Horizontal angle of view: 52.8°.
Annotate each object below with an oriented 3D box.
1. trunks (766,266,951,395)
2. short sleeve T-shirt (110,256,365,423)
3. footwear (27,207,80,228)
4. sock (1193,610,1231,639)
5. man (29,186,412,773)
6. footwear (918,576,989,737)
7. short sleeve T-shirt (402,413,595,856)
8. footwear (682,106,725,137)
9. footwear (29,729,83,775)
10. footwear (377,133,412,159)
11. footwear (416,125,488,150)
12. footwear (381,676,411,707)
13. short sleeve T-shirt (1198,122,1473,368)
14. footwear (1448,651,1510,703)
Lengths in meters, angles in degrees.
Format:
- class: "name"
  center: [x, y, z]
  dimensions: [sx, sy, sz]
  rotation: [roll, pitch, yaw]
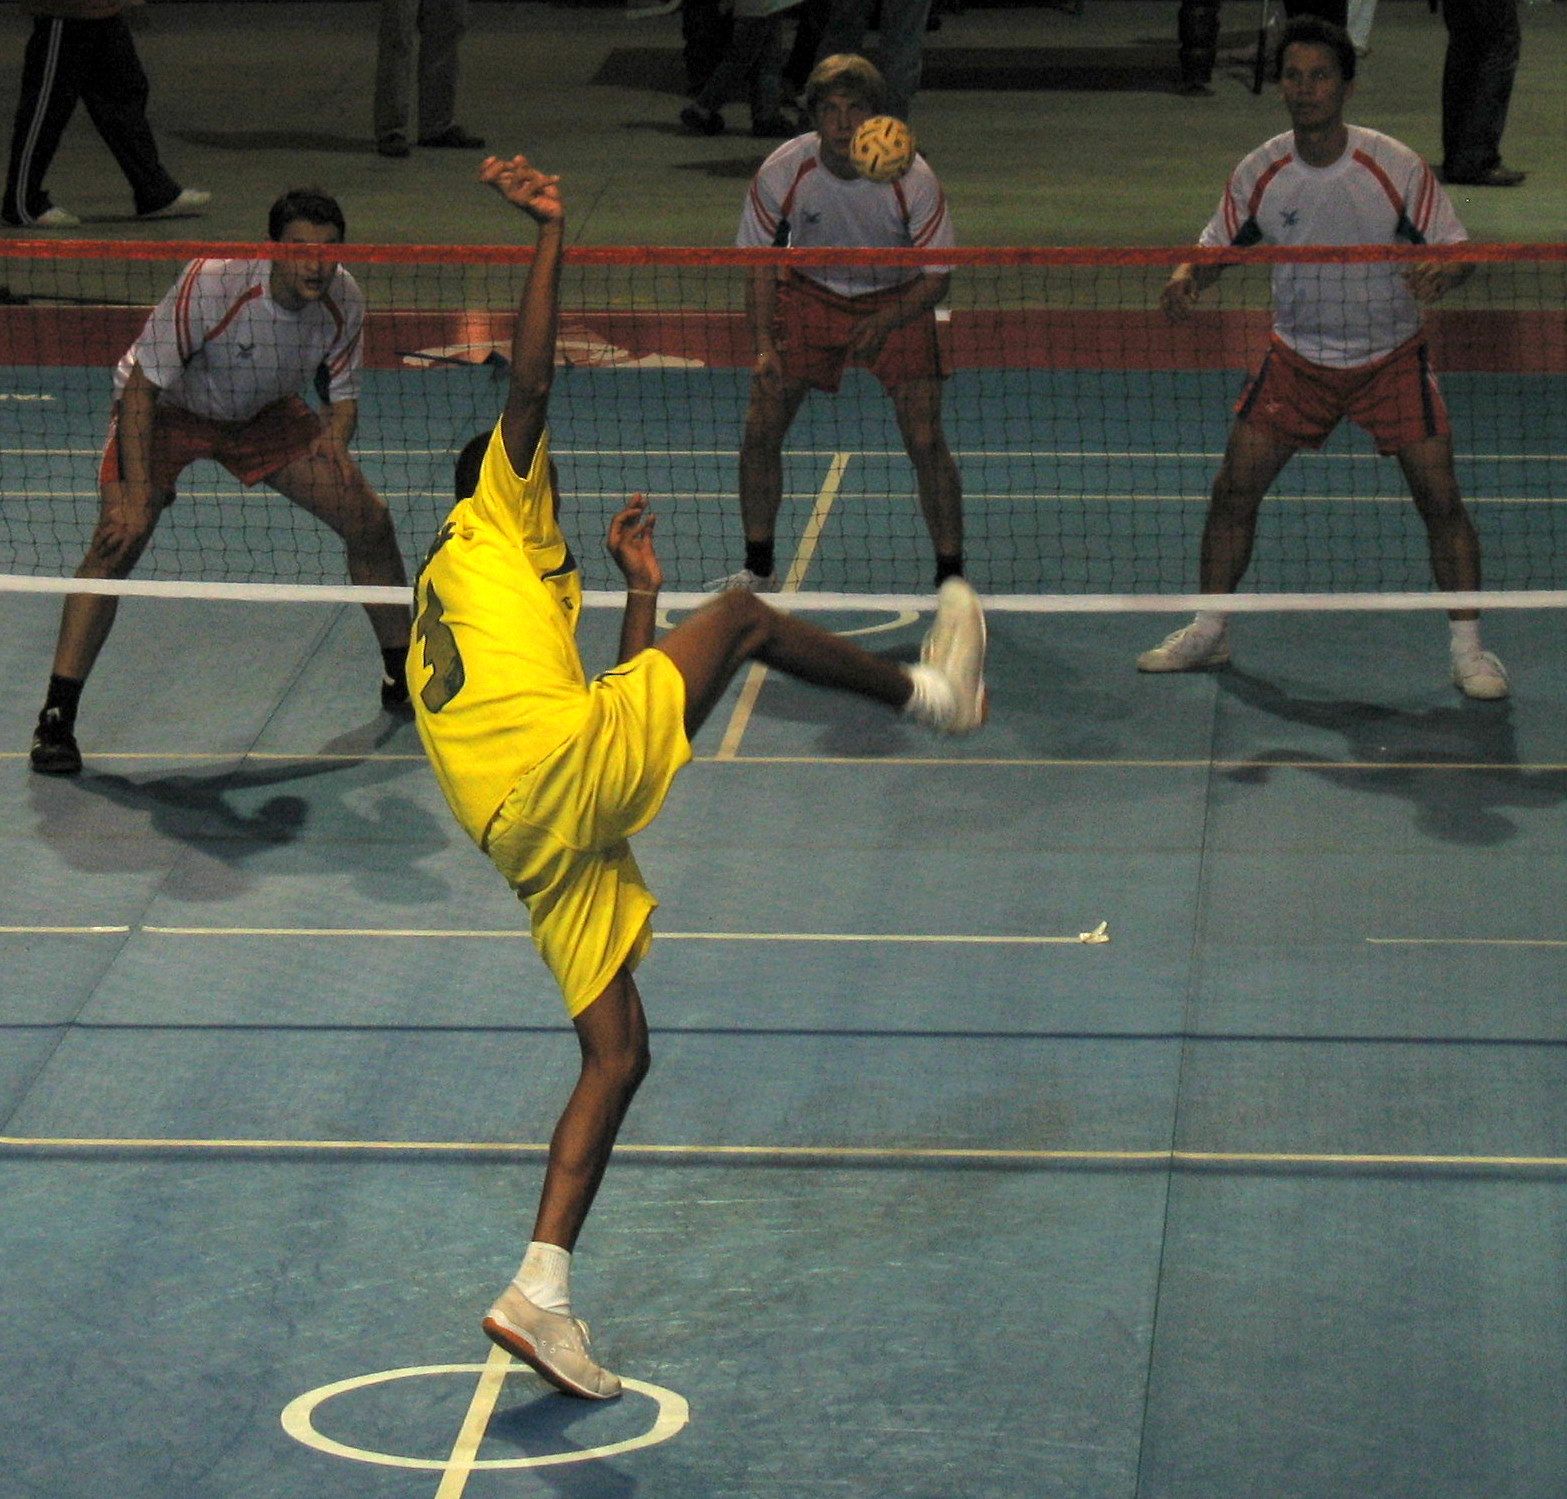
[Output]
- class: "trunks"
  center: [0.340, -1.906, 7.409]
  dimensions: [1.006, 0.639, 0.536]
  rotation: [1, 9, -4]
- class: "short sleeve T-shirt"
  center: [-2.146, -1.652, 6.419]
  dimensions: [0.892, 0.643, 0.359]
  rotation: [-6, 22, -13]
- class: "footwear"
  center: [-6.026, -4.397, 13.106]
  dimensions: [0.296, 0.093, 0.294]
  rotation: [5, 13, 36]
- class: "sock"
  center: [1.918, -0.564, 7.178]
  dimensions: [0.141, 0.118, 0.120]
  rotation: [9, 14, 19]
- class: "man"
  center: [-2.205, -1.245, 6.617]
  dimensions: [1.982, 2.242, 1.276]
  rotation: [-10, 40, -31]
- class: "footwear"
  center: [0.461, -0.238, 4.053]
  dimensions: [0.167, 0.171, 0.409]
  rotation: [20, 43, -15]
- class: "short sleeve T-shirt"
  center: [-0.567, -0.217, 3.117]
  dimensions: [0.346, 0.785, 0.597]
  rotation: [-5, 21, -8]
- class: "footwear"
  center: [-0.801, -6.222, 15.685]
  dimensions: [0.382, 0.283, 0.289]
  rotation: [17, -9, -8]
- class: "footwear"
  center: [-2.924, 0.014, 6.384]
  dimensions: [0.188, 0.187, 0.132]
  rotation: [-7, 22, -16]
- class: "footwear"
  center: [-3.642, -5.694, 14.985]
  dimensions: [0.376, 0.195, 0.224]
  rotation: [4, -10, -1]
- class: "footwear"
  center: [-3.241, -5.922, 15.278]
  dimensions: [0.781, 0.265, 0.239]
  rotation: [-1, 21, -3]
- class: "footwear"
  center: [-1.702, -0.257, 6.983]
  dimensions: [0.159, 0.136, 0.035]
  rotation: [1, 15, 0]
- class: "short sleeve T-shirt"
  center: [2.270, -2.092, 6.610]
  dimensions: [0.988, 0.949, 0.556]
  rotation: [5, 22, 16]
- class: "footwear"
  center: [2.961, -0.315, 6.820]
  dimensions: [0.155, 0.124, 0.310]
  rotation: [-6, 20, 4]
